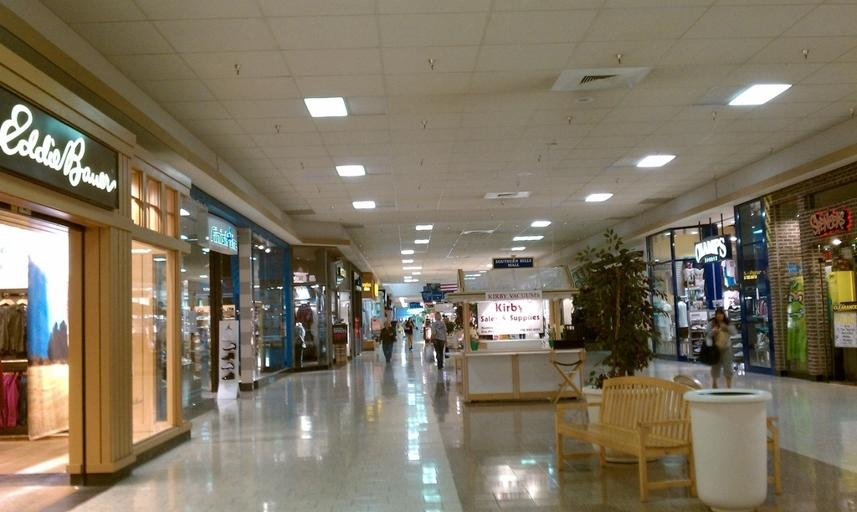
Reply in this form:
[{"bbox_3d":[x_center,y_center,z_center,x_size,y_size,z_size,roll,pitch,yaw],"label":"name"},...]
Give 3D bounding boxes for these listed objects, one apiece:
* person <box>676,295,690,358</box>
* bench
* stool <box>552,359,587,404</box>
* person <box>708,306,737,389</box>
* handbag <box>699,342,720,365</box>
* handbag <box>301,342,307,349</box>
[{"bbox_3d":[8.109,2.298,18.448,0.237,1.892,0.580,-1,-7,-11],"label":"person"},{"bbox_3d":[2.525,2.259,7.611,0.827,1.206,2.095,1,-9,-13],"label":"bench"},{"bbox_3d":[3.128,2.603,12.220,0.949,1.103,0.784,2,-6,2],"label":"stool"},{"bbox_3d":[6.266,1.936,12.350,0.476,1.659,0.355,-5,-8,24],"label":"person"},{"bbox_3d":[6.009,2.074,12.369,0.391,0.469,0.265,-6,-8,28],"label":"handbag"},{"bbox_3d":[-4.189,3.008,19.454,0.211,0.185,0.117,1,-2,0],"label":"handbag"}]
